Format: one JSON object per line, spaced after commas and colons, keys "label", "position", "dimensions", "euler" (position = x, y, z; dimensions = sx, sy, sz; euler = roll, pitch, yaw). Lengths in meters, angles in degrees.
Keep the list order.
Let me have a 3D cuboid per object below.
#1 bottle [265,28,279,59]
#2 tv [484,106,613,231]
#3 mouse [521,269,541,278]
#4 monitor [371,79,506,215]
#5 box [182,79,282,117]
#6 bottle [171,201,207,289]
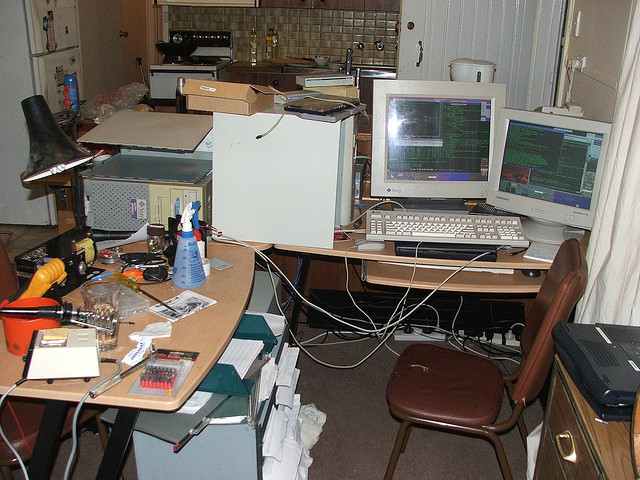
{"label": "bottle", "position": [-0.563, -2.311, 5.967], "dimensions": [0.166, 0.324, 0.118], "euler": [0, 24, -2]}
{"label": "tv", "position": [1.056, -0.325, 2.333], "dimensions": [0.430, 0.444, 0.251], "euler": [19, 30, 31]}
{"label": "mouse", "position": [0.977, 0.149, 2.324], "dimensions": [0.044, 0.016, 0.050], "euler": [-5, 31, 1]}
{"label": "monitor", "position": [0.582, -0.430, 2.554], "dimensions": [0.607, 0.645, 0.221], "euler": [2, -6, 1]}
{"label": "box", "position": [-0.411, -0.621, 2.251], "dimensions": [0.256, 0.090, 0.203], "euler": [10, 22, 9]}
{"label": "bottle", "position": [-0.523, 0.029, 2.003], "dimensions": [0.143, 0.299, 0.140], "euler": [1, 24, 0]}
